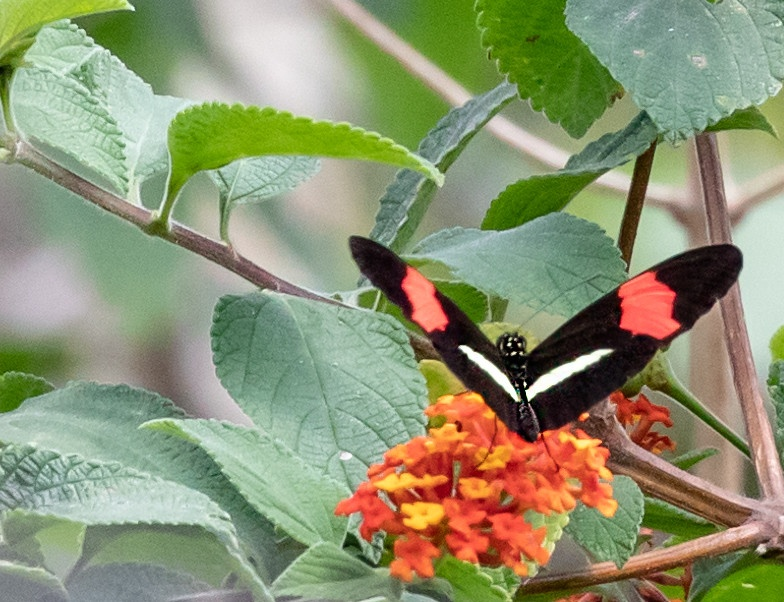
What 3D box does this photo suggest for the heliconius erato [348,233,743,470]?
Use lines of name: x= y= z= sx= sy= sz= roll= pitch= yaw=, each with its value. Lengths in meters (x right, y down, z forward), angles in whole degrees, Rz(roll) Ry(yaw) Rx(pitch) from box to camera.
heliconius erato: x=0.150 y=-0.011 z=1.145 sx=0.374 sy=0.225 sz=0.262 roll=2 pitch=10 yaw=10

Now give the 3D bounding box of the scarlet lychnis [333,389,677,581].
scarlet lychnis: x=0.071 y=0.174 z=1.139 sx=0.250 sy=0.195 sz=0.132 roll=-11 pitch=-36 yaw=-6
